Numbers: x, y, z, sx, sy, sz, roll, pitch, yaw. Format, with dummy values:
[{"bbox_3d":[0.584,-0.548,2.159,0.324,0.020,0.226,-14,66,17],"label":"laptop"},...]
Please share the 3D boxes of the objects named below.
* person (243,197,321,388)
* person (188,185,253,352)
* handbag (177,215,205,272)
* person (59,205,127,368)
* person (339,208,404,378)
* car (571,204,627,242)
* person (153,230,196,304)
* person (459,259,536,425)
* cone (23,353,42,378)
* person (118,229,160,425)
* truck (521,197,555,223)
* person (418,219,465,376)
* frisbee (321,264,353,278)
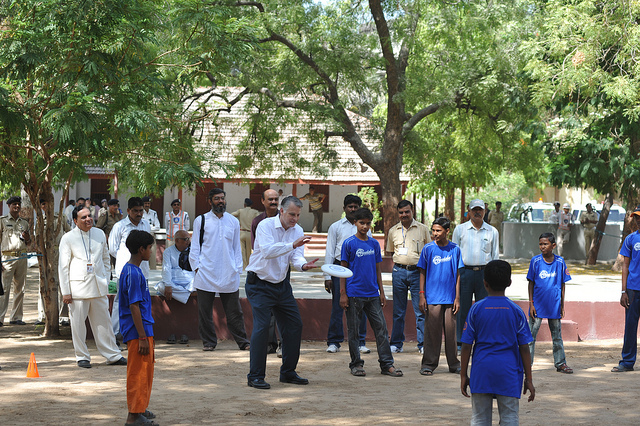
[{"bbox_3d":[-0.718,1.338,14.958,1.087,3.221,0.962,-2,-3,-5],"label":"person"},{"bbox_3d":[-1.946,1.092,16.910,1.049,3.123,0.591,-2,-3,-5],"label":"person"},{"bbox_3d":[-2.631,0.621,17.884,0.588,1.108,0.531,0,-8,-16],"label":"handbag"},{"bbox_3d":[-4.177,1.321,16.165,1.033,2.873,0.650,-2,9,-19],"label":"person"},{"bbox_3d":[0.816,1.413,15.597,0.912,2.972,0.508,-2,-3,4],"label":"person"},{"bbox_3d":[10.553,0.364,32.706,2.398,1.352,1.394,-1,1,7],"label":"car"},{"bbox_3d":[-2.813,0.978,17.763,1.066,1.305,0.788,-6,14,-19],"label":"person"},{"bbox_3d":[2.584,1.866,12.869,0.985,2.370,0.311,-3,-3,7],"label":"person"},{"bbox_3d":[-5.003,2.630,15.339,0.282,0.429,0.353,0,-4,-26],"label":"cone"},{"bbox_3d":[-2.841,1.756,13.765,0.556,3.040,0.446,-1,-3,-13],"label":"person"},{"bbox_3d":[8.663,-0.084,35.114,1.188,0.871,2.048,-4,-5,18],"label":"truck"},{"bbox_3d":[2.159,1.483,15.720,0.797,2.759,0.418,-3,-3,7],"label":"person"},{"bbox_3d":[0.310,0.973,15.141,0.508,0.243,0.553,-2,-5,1],"label":"frisbee"}]
